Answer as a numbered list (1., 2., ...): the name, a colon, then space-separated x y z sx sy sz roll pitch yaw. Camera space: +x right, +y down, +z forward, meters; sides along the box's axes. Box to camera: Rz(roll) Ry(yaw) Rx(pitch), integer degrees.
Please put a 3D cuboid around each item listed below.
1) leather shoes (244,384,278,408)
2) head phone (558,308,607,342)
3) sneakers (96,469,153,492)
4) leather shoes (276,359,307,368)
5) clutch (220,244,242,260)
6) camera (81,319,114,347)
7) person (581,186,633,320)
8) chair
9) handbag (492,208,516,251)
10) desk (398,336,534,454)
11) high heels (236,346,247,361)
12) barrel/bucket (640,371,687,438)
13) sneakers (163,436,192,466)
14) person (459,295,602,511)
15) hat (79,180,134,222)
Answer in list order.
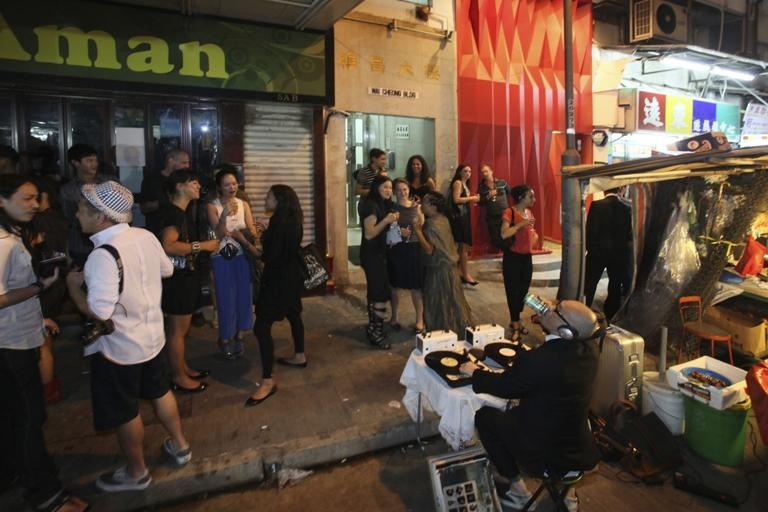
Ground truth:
1. leather shoes: -1.536 1.772 6.786 0.431 0.116 0.146 -22 33 -38
2. head phone: 1.910 0.680 5.338 0.360 0.161 0.281 41 20 25
3. sneakers: -2.700 2.354 5.782 0.575 0.232 0.232 8 -6 -11
4. leather shoes: -1.272 1.461 7.511 0.408 0.106 0.149 10 2 9
5. clutch: -2.035 -0.056 7.217 0.287 0.189 0.089 -1 -2 -20
6. camera: -2.786 0.729 5.312 0.254 0.196 0.273 6 25 45
7. person: 3.482 0.011 8.589 0.670 1.879 0.416 6 14 20
8. chair: 4.518 1.088 7.549 0.666 1.008 0.633 1 12 41
9. handbag: 1.757 -0.386 8.070 0.300 0.633 0.216 -2 13 -12
10. desk: 0.793 1.613 5.913 1.138 0.660 1.126 -17 44 -27
11. high heels: -2.044 1.395 7.767 0.144 0.135 0.233 -3 -19 -15
12. barrel/bucket: 3.257 1.905 6.614 0.607 0.590 0.424 -12 -31 35
13. sneakers: -2.253 2.123 6.025 0.409 0.179 0.164 23 20 34
14. person: 1.497 1.609 5.584 1.187 2.358 1.414 -14 37 -16
15. hat: -2.684 -0.552 5.424 0.248 0.380 0.489 -25 -42 21
